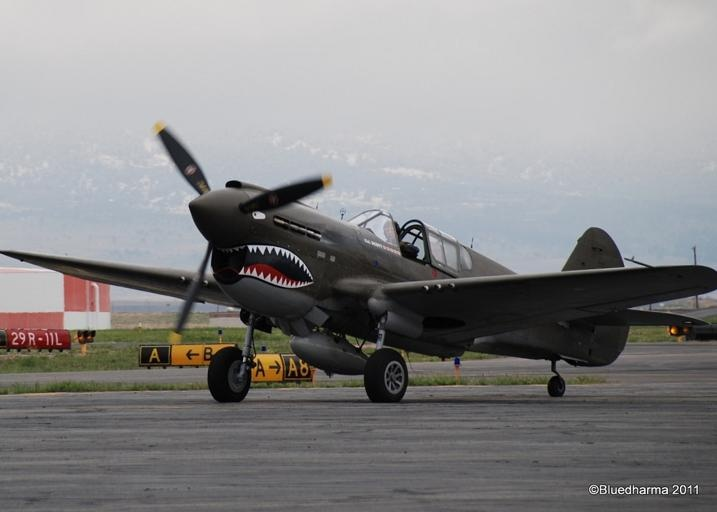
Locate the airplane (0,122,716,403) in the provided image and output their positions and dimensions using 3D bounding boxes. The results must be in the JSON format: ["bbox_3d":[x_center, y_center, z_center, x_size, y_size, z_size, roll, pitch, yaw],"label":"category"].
[{"bbox_3d":[0.614,0.258,15.668,10.380,4.700,5.625,3,-2,-15],"label":"airplane"}]
